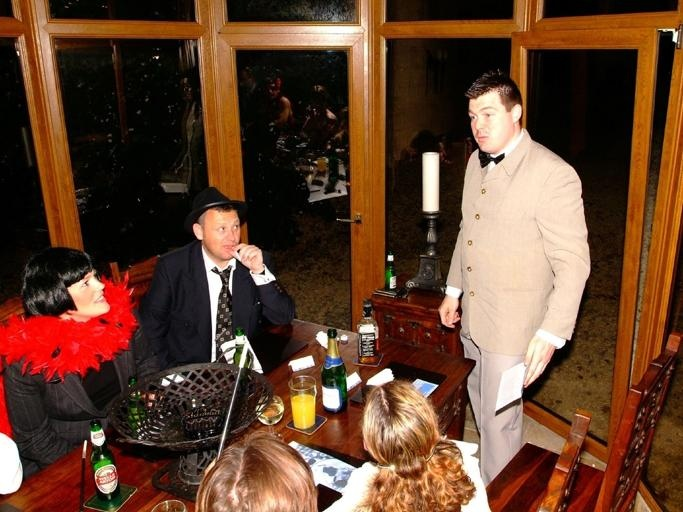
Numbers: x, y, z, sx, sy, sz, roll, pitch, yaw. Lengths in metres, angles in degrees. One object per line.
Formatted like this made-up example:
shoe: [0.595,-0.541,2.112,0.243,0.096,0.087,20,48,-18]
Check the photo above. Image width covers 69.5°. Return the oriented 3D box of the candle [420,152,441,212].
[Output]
candle: [0.507,-0.409,2.780,0.083,0.332,0.079,-2,19,1]

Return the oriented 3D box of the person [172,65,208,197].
person: [-1.101,-0.869,3.509,0.250,0.864,0.095,-8,19,-17]

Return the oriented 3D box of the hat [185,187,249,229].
hat: [-0.724,-0.241,2.654,0.292,0.235,0.172,10,23,31]

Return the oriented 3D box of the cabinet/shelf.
cabinet/shelf: [0.455,0.342,3.026,0.557,0.580,0.354,3,10,26]

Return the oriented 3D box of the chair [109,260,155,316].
chair: [-1.099,0.178,2.586,0.158,0.307,0.163,23,28,26]
